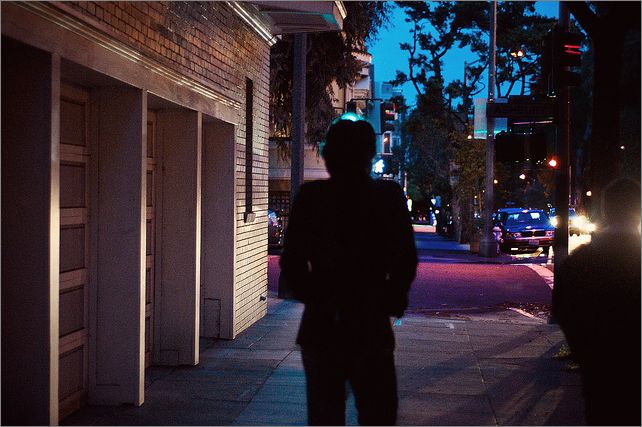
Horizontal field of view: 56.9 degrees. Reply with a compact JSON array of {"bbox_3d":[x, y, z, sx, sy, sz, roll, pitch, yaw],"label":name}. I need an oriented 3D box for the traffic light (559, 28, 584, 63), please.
[{"bbox_3d":[3.933,-2.610,9.341,0.317,0.590,0.368,1,1,23],"label":"traffic light"}]
